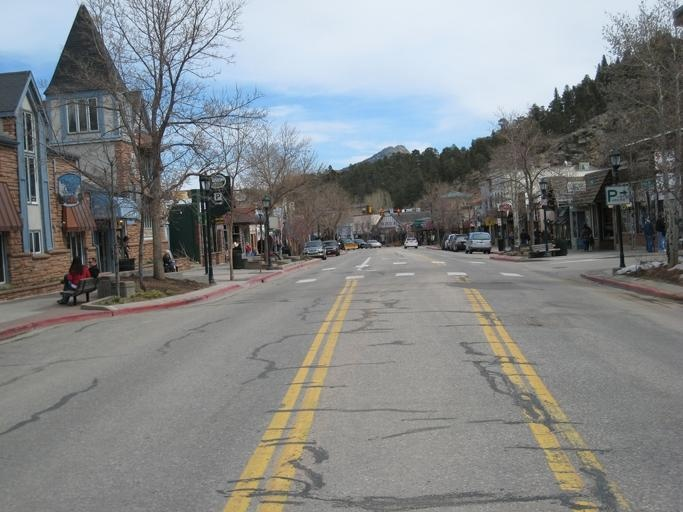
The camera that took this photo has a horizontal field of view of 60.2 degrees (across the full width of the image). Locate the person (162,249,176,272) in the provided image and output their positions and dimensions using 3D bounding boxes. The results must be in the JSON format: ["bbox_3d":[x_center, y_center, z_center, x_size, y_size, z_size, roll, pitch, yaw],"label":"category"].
[{"bbox_3d":[-11.241,0.332,38.662,0.793,1.337,2.605,-3,4,-16],"label":"person"}]

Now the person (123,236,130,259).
[{"bbox_3d":[-13.304,-0.523,36.390,0.339,1.442,0.381,-7,11,-37],"label":"person"}]

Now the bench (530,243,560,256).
[{"bbox_3d":[13.821,-0.409,40.688,2.315,0.808,1.906,-2,4,-8],"label":"bench"}]

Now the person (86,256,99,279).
[{"bbox_3d":[-10.779,0.476,25.433,0.444,1.622,0.714,2,-1,-19],"label":"person"}]

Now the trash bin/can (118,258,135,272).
[{"bbox_3d":[-10.913,0.423,29.989,0.678,0.607,1.229,-4,4,-34],"label":"trash bin/can"}]
